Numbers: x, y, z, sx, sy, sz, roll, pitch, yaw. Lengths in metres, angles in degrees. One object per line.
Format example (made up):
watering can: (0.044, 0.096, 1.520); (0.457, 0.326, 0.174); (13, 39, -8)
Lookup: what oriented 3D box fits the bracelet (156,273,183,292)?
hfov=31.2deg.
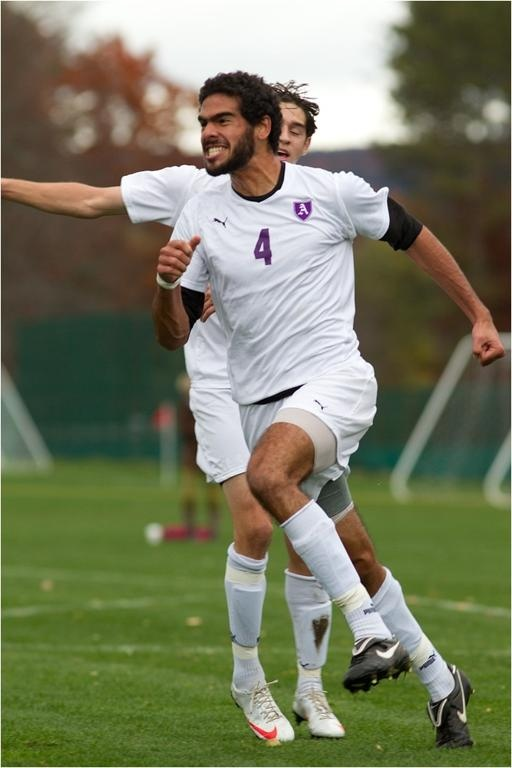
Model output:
bracelet: (-0.264, -0.310, 2.806); (0.086, 0.035, 0.091); (1, -1, -5)

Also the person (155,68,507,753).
person: (0.218, 0.080, 2.832); (1.061, 2.167, 0.783); (1, -6, -7)

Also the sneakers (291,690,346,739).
sneakers: (0.214, 1.144, 3.184); (0.103, 0.082, 0.219); (-9, 3, -23)

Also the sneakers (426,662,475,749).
sneakers: (0.652, 1.042, 3.013); (0.153, 0.262, 0.110); (6, -12, -42)

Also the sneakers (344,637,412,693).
sneakers: (0.319, 0.762, 2.482); (0.101, 0.121, 0.221); (-36, -8, -13)
